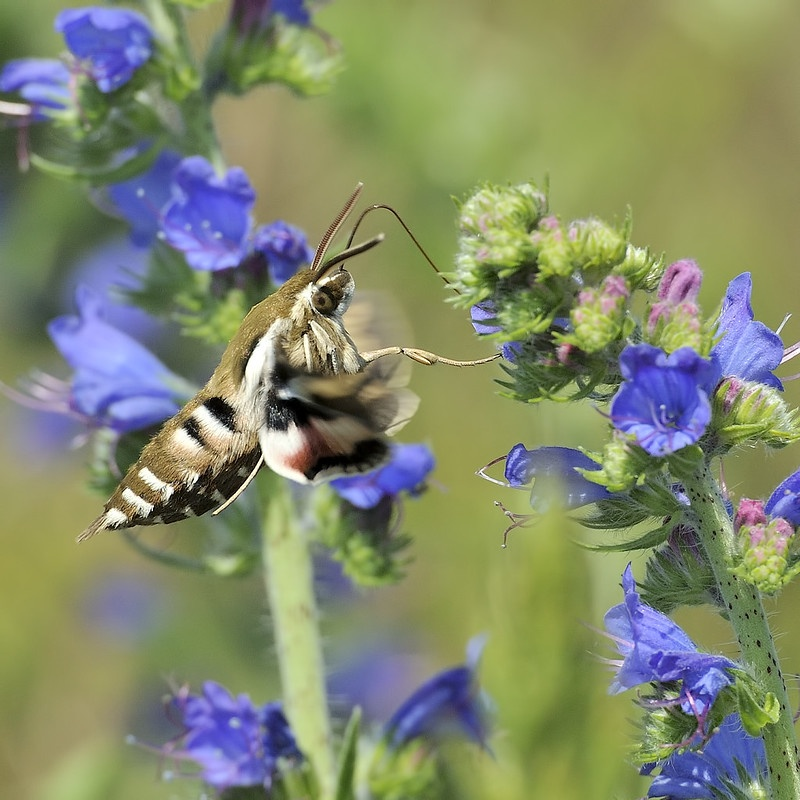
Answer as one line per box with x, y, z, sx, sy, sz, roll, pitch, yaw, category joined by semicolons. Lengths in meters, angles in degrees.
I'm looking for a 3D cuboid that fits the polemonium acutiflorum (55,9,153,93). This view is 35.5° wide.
-0.753;-0.914;3.248;0.197;0.071;0.213;-7;-65;-5;polemonium acutiflorum
